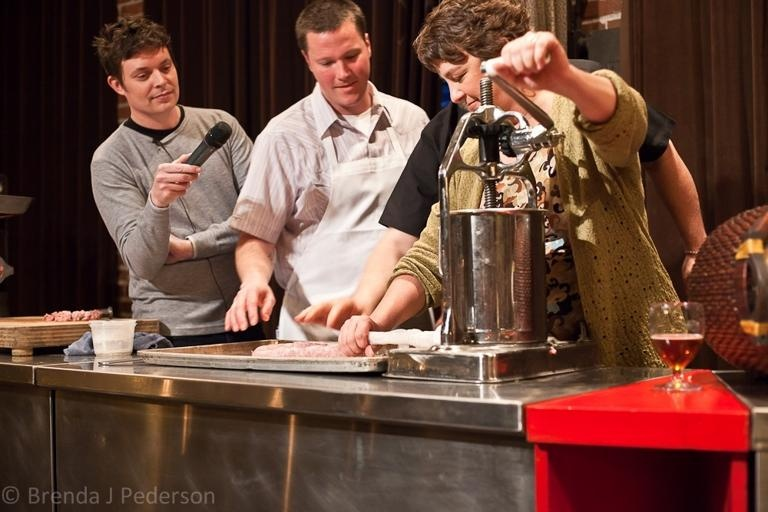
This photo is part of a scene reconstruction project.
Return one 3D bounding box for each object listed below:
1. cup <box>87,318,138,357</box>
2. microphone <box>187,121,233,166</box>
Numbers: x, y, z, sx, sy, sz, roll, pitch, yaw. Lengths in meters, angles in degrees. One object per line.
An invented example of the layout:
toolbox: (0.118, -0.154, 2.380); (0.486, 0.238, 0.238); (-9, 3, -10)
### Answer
cup: (-0.729, 0.218, 2.165); (0.100, 0.075, 0.101); (-1, -8, 0)
microphone: (-0.522, -0.332, 2.363); (0.113, 0.122, 0.284); (-5, 2, -16)
